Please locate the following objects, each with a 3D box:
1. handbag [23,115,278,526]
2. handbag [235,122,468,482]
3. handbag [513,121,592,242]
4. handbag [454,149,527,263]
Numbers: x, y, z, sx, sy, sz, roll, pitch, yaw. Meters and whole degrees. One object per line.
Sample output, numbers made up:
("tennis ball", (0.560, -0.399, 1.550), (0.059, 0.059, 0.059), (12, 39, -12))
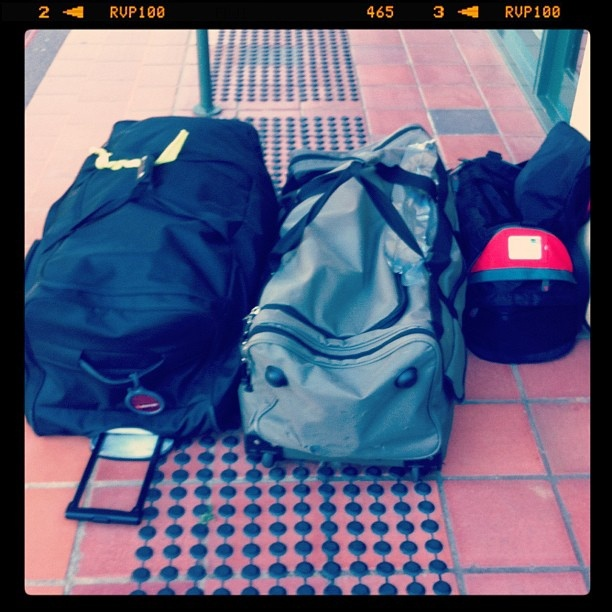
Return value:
("handbag", (-0.344, -0.010, 1.691), (0.641, 0.373, 0.919), (2, 48, 2))
("handbag", (0.095, -0.099, 1.768), (0.720, 0.526, 0.950), (9, 41, 1))
("handbag", (0.659, -0.334, 1.853), (0.187, 0.234, 0.398), (5, 32, 15))
("handbag", (0.490, -0.278, 1.864), (0.263, 0.114, 0.303), (7, 54, 3))
